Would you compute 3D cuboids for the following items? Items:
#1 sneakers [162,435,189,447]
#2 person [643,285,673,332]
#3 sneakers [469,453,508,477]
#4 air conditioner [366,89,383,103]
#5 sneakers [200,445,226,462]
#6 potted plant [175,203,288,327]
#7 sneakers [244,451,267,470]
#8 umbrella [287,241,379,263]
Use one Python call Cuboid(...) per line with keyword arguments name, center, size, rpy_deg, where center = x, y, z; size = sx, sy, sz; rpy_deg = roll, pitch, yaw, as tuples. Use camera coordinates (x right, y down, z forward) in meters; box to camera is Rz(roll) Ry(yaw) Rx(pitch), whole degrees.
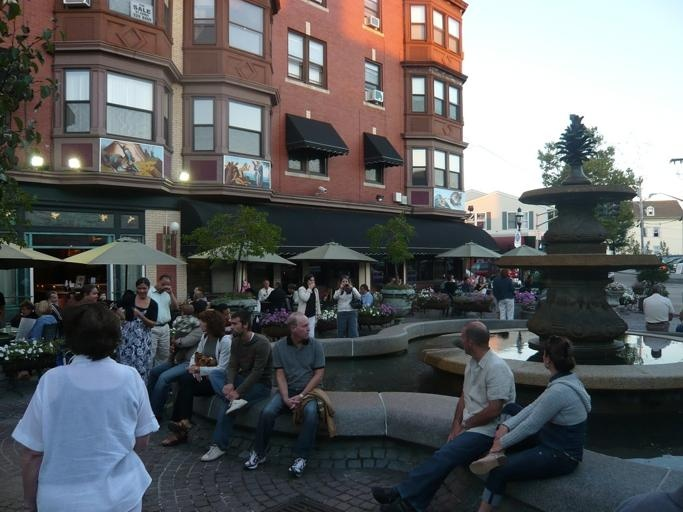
Cuboid(name="sneakers", center=(-2.531, 2.799, 10.017), size=(0.407, 0.158, 0.149), rpy_deg=(5, -3, -9))
Cuboid(name="person", center=(7.713, 1.286, 16.043), size=(0.595, 1.205, 1.717), rpy_deg=(-1, -1, 25))
Cuboid(name="sneakers", center=(1.679, 2.395, 7.600), size=(0.461, 0.185, 0.194), rpy_deg=(-24, 18, -9))
Cuboid(name="air conditioner", center=(1.546, -7.223, 30.032), size=(0.611, 0.594, 1.041), rpy_deg=(-2, -2, 40))
Cuboid(name="sneakers", center=(-1.907, 2.823, 9.459), size=(0.419, 0.151, 0.151), rpy_deg=(1, -1, -42))
Cuboid(name="potted plant", center=(-3.547, -0.007, 21.182), size=(3.265, 2.862, 2.860), rpy_deg=(0, 1, -14))
Cuboid(name="sneakers", center=(-1.222, 2.851, 9.182), size=(0.150, 0.161, 0.377), rpy_deg=(-1, -9, 19))
Cuboid(name="umbrella", center=(-0.408, -0.175, 22.782), size=(1.921, 0.629, 2.042), rpy_deg=(-2, -1, 31))
